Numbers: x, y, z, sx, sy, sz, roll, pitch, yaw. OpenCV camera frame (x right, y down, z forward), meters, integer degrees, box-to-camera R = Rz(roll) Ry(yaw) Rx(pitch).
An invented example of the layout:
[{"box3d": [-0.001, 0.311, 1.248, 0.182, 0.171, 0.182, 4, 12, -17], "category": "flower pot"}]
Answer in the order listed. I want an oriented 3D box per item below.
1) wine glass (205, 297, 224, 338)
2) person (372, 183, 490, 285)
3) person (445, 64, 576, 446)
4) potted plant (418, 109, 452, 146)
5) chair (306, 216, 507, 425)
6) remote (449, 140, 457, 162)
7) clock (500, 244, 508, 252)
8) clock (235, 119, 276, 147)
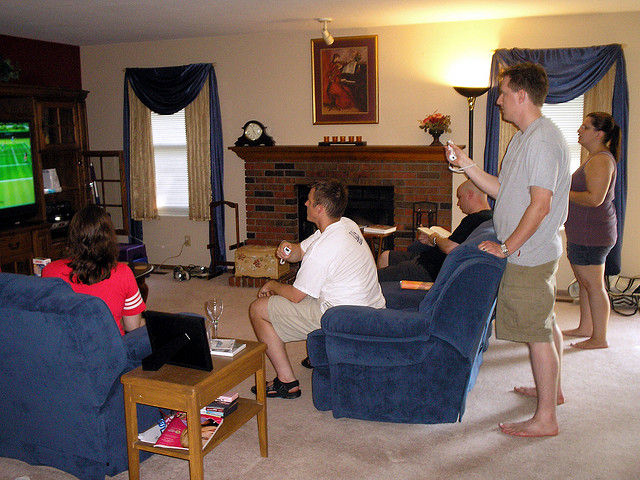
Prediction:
[{"box3d": [-0.607, 0.425, 3.123, 0.086, 0.253, 0.368, -4, 15, -11], "category": "wine glass"}, {"box3d": [0.906, -0.026, 4.321, 1.153, 0.870, 0.656, 2, 9, 16], "category": "person"}, {"box3d": [1.299, -0.011, 3.485, 0.692, 2.134, 1.220, 5, 16, 25], "category": "person"}, {"box3d": [1.217, -1.179, 5.665, 0.351, 0.371, 0.321, -1, 12, -19], "category": "potted plant"}, {"box3d": [0.629, 0.285, 3.910, 1.207, 1.148, 1.749, 2, 23, 18], "category": "chair"}, {"box3d": [0.811, -0.543, 3.295, 0.055, 0.105, 0.027, -5, 6, 12], "category": "remote"}, {"box3d": [1.020, 0.040, 3.008, 0.037, 0.040, 0.010, -5, -9, 32], "category": "clock"}, {"box3d": [-0.730, -1.250, 6.259, 0.380, 0.250, 0.056, 0, 5, 8], "category": "clock"}]
